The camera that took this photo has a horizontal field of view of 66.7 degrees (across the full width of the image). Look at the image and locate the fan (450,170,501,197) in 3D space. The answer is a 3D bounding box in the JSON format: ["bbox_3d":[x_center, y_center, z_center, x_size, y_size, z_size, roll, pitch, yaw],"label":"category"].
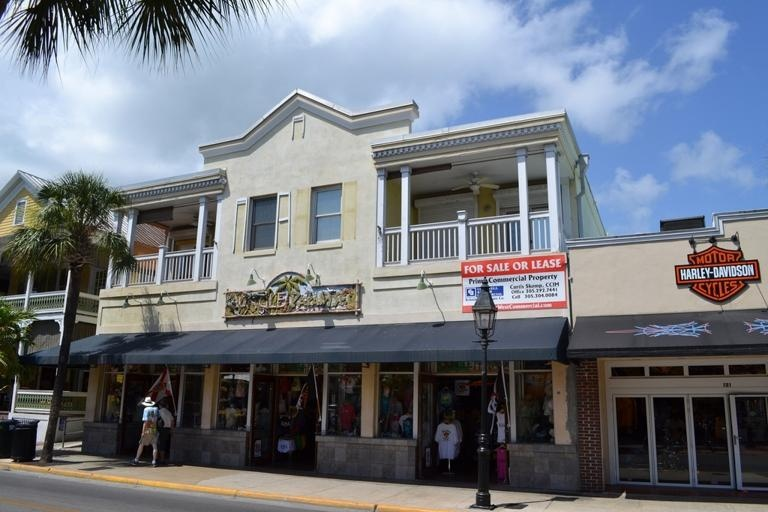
[{"bbox_3d":[3.391,-2.714,21.481,0.976,0.396,0.927,2,-19,-10],"label":"fan"}]

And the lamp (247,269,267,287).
[{"bbox_3d":[-4.601,0.781,21.299,0.416,0.663,0.768,-14,-32,22],"label":"lamp"}]

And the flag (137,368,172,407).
[{"bbox_3d":[-8.664,5.019,22.283,1.587,2.158,0.199,-3,-4,11],"label":"flag"}]

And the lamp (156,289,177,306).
[{"bbox_3d":[-8.307,1.569,22.360,0.559,0.377,0.597,-2,-13,8],"label":"lamp"}]

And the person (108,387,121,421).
[{"bbox_3d":[-10.625,5.889,23.068,0.612,1.241,0.189,-9,-18,27],"label":"person"}]

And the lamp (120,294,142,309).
[{"bbox_3d":[-9.904,1.742,23.069,0.768,0.471,0.229,-7,-18,21],"label":"lamp"}]

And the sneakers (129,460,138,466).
[{"bbox_3d":[-8.606,7.193,20.327,0.455,0.200,0.165,-11,-21,40],"label":"sneakers"}]
